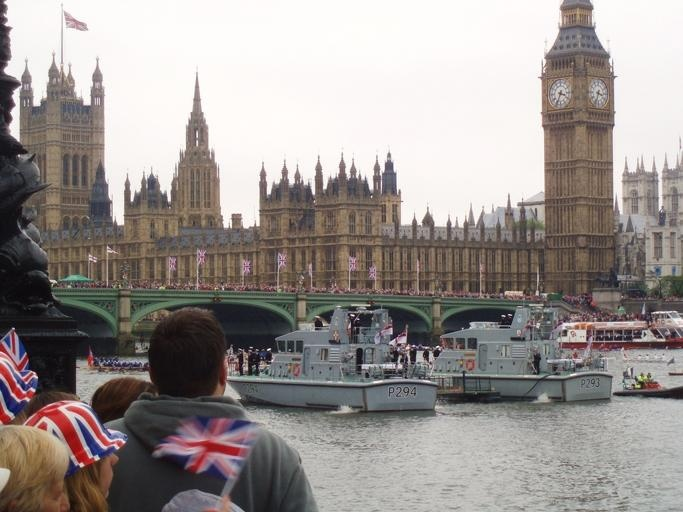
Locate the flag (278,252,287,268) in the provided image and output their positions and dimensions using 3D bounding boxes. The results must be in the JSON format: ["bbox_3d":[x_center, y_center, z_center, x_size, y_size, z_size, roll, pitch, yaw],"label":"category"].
[{"bbox_3d":[-4.847,0.406,148.400,1.147,1.435,0.103,1,-4,-27],"label":"flag"}]

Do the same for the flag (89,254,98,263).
[{"bbox_3d":[-21.349,0.249,156.451,0.738,1.018,0.110,2,-5,-31],"label":"flag"}]

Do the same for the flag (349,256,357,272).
[{"bbox_3d":[0.873,0.702,146.792,0.062,1.302,1.231,2,2,26],"label":"flag"}]

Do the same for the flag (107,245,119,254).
[{"bbox_3d":[-20.873,-0.524,166.481,0.376,0.201,1.802,24,-1,-29],"label":"flag"}]

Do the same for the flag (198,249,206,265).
[{"bbox_3d":[-11.646,0.087,151.608,0.191,1.491,1.356,-4,-5,32],"label":"flag"}]
